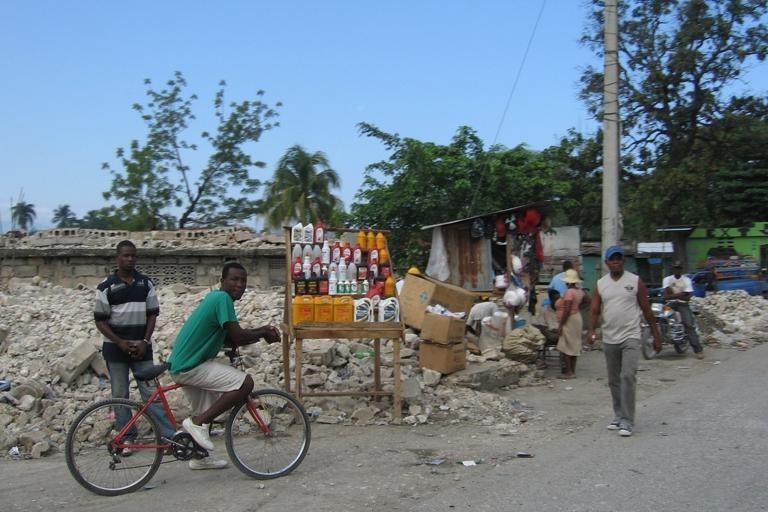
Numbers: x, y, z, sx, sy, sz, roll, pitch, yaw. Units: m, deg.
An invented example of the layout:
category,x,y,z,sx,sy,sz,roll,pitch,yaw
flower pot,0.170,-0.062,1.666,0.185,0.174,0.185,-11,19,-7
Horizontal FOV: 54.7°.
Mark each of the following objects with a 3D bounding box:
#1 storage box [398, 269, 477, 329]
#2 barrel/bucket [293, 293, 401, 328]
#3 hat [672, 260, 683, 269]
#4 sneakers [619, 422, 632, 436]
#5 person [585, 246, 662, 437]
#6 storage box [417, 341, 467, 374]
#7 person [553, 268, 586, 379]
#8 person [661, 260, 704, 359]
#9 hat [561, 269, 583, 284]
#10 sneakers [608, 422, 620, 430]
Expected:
category,x,y,z,sx,sy,sz,roll,pitch,yaw
storage box,1.036,0.959,14.938,1.311,0.847,1.303,17,-1,44
barrel/bucket,-0.623,0.845,12.032,1.743,0.454,0.320,-3,14,-5
hat,8.251,0.214,20.938,0.381,0.220,0.476,-1,-20,23
sneakers,3.542,2.564,10.920,0.108,0.103,0.257,3,2,21
person,3.553,1.275,11.260,0.990,2.759,1.278,4,16,22
storage box,1.069,1.819,13.470,0.703,0.349,0.696,7,1,35
person,3.731,1.387,14.953,0.540,2.017,1.226,1,15,13
person,6.566,1.148,16.295,0.894,2.171,1.415,3,15,19
hat,3.805,0.428,15.073,0.387,0.164,0.349,7,10,14
sneakers,3.451,2.562,11.198,0.175,0.111,0.148,2,14,17
